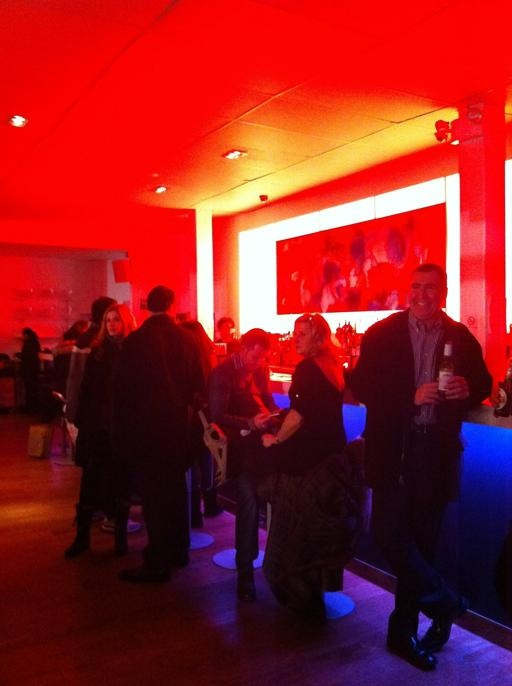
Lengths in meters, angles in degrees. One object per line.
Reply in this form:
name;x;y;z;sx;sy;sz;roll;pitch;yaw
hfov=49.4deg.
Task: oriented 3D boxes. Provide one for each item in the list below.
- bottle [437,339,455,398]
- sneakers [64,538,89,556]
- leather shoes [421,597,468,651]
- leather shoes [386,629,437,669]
bottle;0.695;0.090;2.029;0.052;0.184;0.167;-1;0;20
sneakers;-1.035;1.214;3.284;0.059;0.117;0.166;-12;-16;36
leather shoes;0.698;1.093;2.138;0.181;0.205;0.102;-1;0;-20
leather shoes;0.576;1.146;2.095;0.066;0.140;0.197;2;-12;-30
